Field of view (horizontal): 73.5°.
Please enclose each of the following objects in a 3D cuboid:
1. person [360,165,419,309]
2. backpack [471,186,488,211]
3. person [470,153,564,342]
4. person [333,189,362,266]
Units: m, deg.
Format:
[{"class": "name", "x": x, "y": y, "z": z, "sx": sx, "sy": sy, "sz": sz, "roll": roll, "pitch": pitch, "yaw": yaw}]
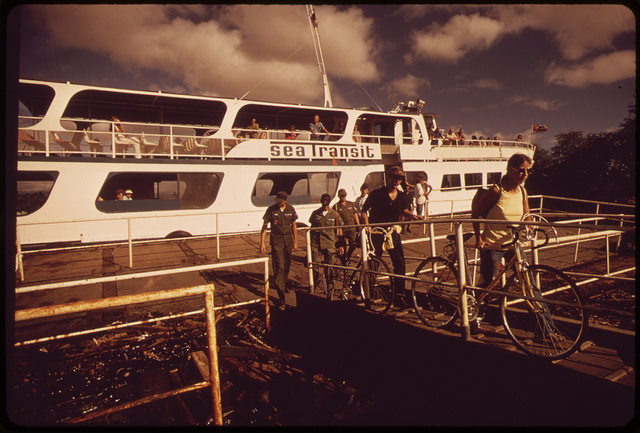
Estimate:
[{"class": "person", "x": 1.296, "y": 0.338, "z": 8.222, "sx": 0.991, "sy": 2.584, "sz": 1.101, "roll": 2, "pitch": 11, "yaw": 6}, {"class": "backpack", "x": 2.677, "y": -0.313, "z": 7.037, "sx": 0.267, "sy": 0.286, "sz": 0.274, "roll": 12, "pitch": -18, "yaw": -17}, {"class": "person", "x": 3.002, "y": 0.396, "z": 6.758, "sx": 1.307, "sy": 2.739, "sz": 1.091, "roll": 7, "pitch": 13, "yaw": 29}, {"class": "person", "x": 0.681, "y": 0.221, "z": 10.710, "sx": 0.723, "sy": 1.750, "sz": 0.651, "roll": -10, "pitch": 16, "yaw": 1}]
